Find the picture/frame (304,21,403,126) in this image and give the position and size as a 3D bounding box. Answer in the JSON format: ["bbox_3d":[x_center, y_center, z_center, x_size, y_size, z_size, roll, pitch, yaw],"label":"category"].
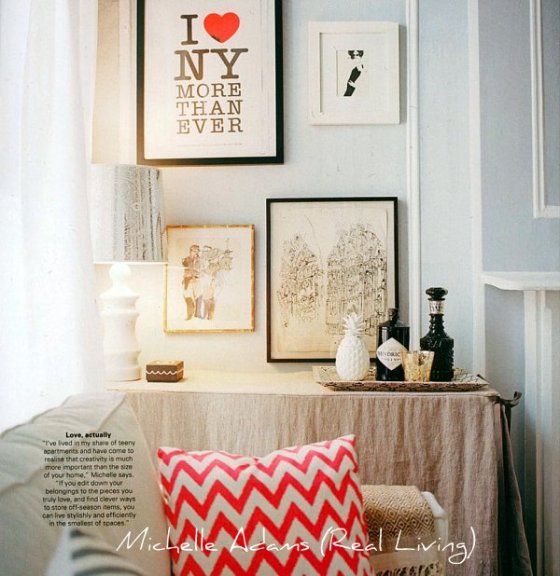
[{"bbox_3d":[0.260,-0.752,2.170,0.247,0.358,0.023,0,-1,-2],"label":"picture/frame"}]

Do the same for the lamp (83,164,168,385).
[{"bbox_3d":[-0.498,-0.050,2.016,0.226,0.679,0.328,-2,3,-27],"label":"lamp"}]

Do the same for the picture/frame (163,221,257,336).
[{"bbox_3d":[-0.247,-0.036,2.226,0.306,0.013,0.481,1,52,-8],"label":"picture/frame"}]

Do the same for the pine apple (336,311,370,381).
[{"bbox_3d":[0.223,0.182,1.908,0.076,0.208,0.079,5,6,39],"label":"pine apple"}]

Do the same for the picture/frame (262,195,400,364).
[{"bbox_3d":[0.191,-0.032,2.150,0.400,0.720,0.021,1,-2,-3],"label":"picture/frame"}]

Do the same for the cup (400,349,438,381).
[{"bbox_3d":[0.399,0.221,1.850,0.064,0.082,0.081,1,-1,15],"label":"cup"}]
